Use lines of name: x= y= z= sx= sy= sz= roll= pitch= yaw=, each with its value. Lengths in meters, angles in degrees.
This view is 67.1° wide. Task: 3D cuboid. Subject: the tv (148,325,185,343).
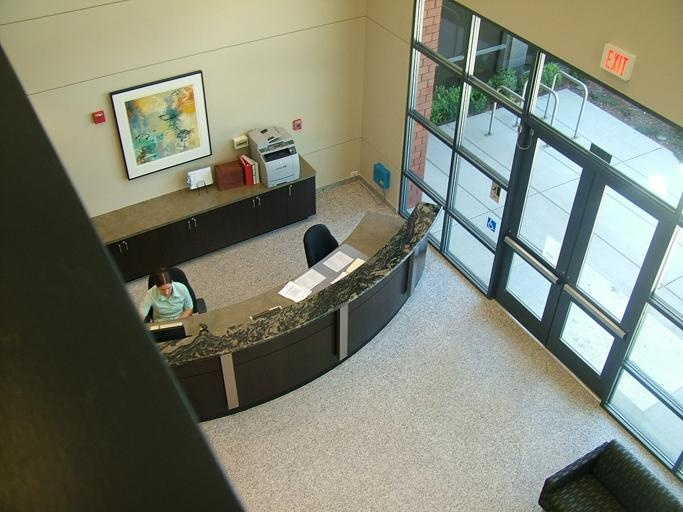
tv: x=-1.787 y=0.798 z=5.356 sx=0.319 sy=0.198 sz=0.115 roll=-8 pitch=34 yaw=-7

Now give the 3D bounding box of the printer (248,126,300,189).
printer: x=-1.070 y=-1.580 z=7.935 sx=0.601 sy=0.676 sz=0.789 roll=-21 pitch=46 yaw=-25

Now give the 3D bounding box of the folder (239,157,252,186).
folder: x=-1.414 y=-1.286 z=7.759 sx=0.108 sy=0.340 sz=0.334 roll=-8 pitch=39 yaw=-18

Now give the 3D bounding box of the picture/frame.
picture/frame: x=-2.507 y=-1.843 z=6.999 sx=1.225 sy=1.281 sz=0.087 roll=-22 pitch=41 yaw=-25

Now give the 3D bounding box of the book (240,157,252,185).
book: x=-1.421 y=-1.267 z=7.768 sx=0.104 sy=0.328 sz=0.329 roll=-9 pitch=45 yaw=-18

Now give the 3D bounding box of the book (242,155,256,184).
book: x=-1.335 y=-1.309 z=7.764 sx=0.118 sy=0.368 sz=0.277 roll=-13 pitch=27 yaw=-7

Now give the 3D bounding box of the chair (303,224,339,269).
chair: x=-0.297 y=-0.146 z=6.723 sx=0.585 sy=0.422 sz=0.382 roll=-30 pitch=42 yaw=-33

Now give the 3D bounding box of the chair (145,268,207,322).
chair: x=-1.964 y=0.469 z=6.037 sx=0.396 sy=0.532 sz=0.439 roll=-22 pitch=73 yaw=-12
